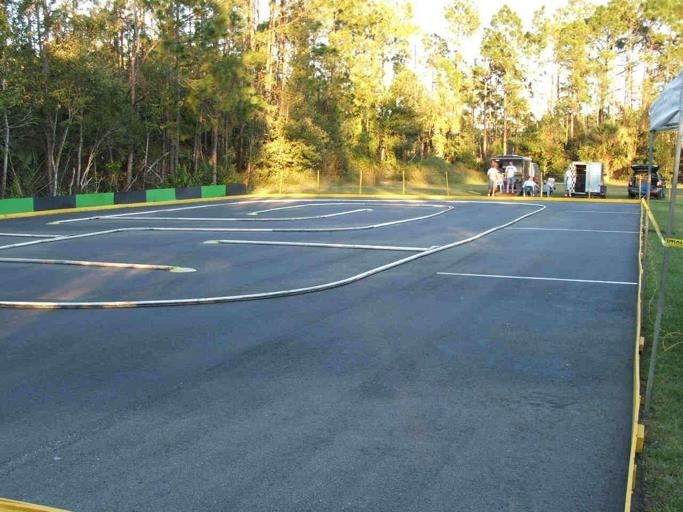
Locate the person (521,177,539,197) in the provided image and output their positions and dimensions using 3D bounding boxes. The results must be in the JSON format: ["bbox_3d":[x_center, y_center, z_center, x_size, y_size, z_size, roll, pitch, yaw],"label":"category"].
[{"bbox_3d":[12.652,-4.882,38.333,0.728,1.137,2.019,6,43,24],"label":"person"}]

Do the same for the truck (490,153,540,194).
[{"bbox_3d":[12.699,-5.734,41.155,2.170,2.947,4.288,1,6,33],"label":"truck"}]

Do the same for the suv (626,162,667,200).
[{"bbox_3d":[19.563,-4.826,36.529,1.888,2.264,7.795,4,10,27],"label":"suv"}]
